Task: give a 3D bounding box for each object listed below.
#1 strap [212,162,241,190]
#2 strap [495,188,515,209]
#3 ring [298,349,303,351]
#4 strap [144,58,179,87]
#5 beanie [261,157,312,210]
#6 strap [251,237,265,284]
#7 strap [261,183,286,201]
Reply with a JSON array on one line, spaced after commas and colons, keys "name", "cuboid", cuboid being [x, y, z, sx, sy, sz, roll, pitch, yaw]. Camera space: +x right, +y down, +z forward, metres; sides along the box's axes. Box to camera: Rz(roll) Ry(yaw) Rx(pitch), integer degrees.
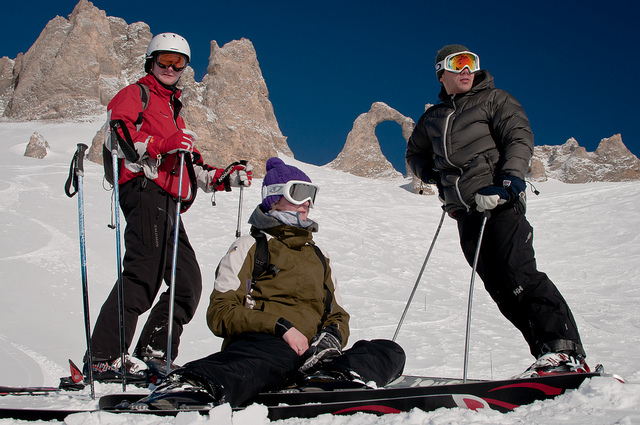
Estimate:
[{"name": "strap", "cuboid": [-1.527, -0.640, 10.535, 0.460, 0.120, 0.253, -41, -9, 4]}, {"name": "strap", "cuboid": [2.738, -0.216, 9.582, 0.069, 0.239, 0.244, 13, 42, 40]}, {"name": "ring", "cuboid": [-0.256, 1.837, 8.815, 0.063, 0.018, 0.010, -2, 4, -30]}, {"name": "strap", "cuboid": [-2.638, -2.284, 10.426, 0.371, 0.504, 0.257, 1, 5, -4]}, {"name": "beanie", "cuboid": [-0.644, -0.509, 9.436, 0.833, 0.746, 0.589, -25, 2, 6]}, {"name": "strap", "cuboid": [-0.863, 0.627, 9.069, 0.118, 0.463, 0.336, 8, 4, -31]}, {"name": "strap", "cuboid": [-0.671, -0.318, 9.346, 0.217, 0.139, 0.268, 3, -12, -38]}]
